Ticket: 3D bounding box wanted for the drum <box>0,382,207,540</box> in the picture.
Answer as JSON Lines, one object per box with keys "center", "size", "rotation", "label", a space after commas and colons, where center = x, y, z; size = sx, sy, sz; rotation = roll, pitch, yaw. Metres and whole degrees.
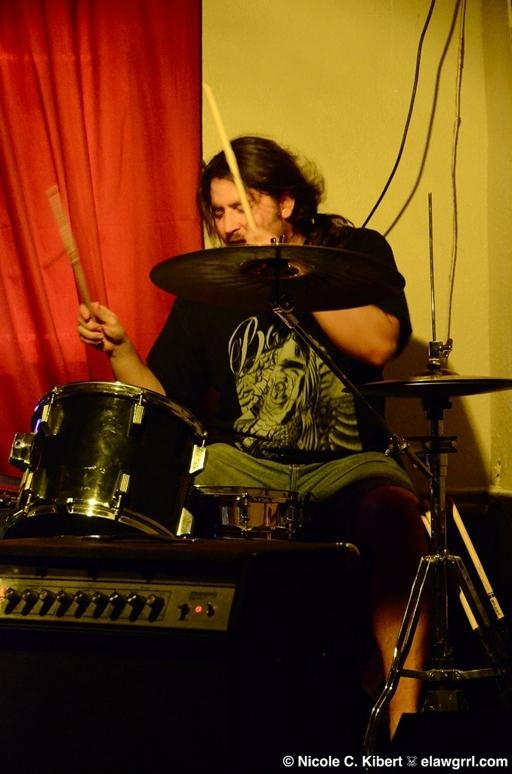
{"center": [-0.245, 0.119, 0.984], "size": [0.309, 0.244, 0.233], "rotation": [2, 25, 5], "label": "drum"}
